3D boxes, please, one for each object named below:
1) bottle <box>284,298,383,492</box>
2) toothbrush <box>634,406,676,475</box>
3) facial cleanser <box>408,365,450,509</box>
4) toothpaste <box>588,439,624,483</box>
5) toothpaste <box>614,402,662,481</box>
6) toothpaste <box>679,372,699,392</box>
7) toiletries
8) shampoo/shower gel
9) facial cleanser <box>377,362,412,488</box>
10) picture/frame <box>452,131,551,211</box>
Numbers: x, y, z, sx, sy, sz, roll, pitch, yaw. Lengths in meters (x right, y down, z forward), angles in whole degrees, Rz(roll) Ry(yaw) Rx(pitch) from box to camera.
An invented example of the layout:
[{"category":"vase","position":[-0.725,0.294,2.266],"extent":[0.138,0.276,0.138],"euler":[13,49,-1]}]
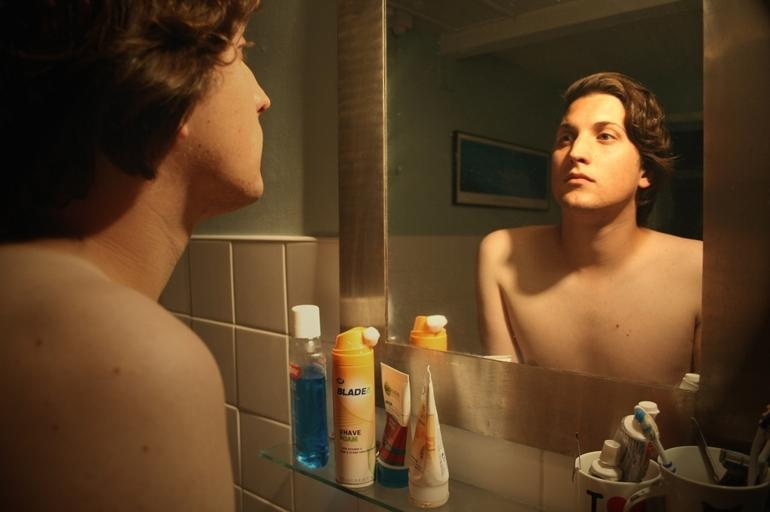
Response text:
[{"category":"bottle","position":[-0.097,0.246,1.159],"extent":[0.168,0.291,0.135],"euler":[3,-1,-6]},{"category":"toothbrush","position":[0.407,0.277,0.943],"extent":[0.019,0.101,0.031],"euler":[-27,-13,15]},{"category":"facial cleanser","position":[0.080,0.302,1.077],"extent":[0.068,0.225,0.080],"euler":[1,-1,-11]},{"category":"toothpaste","position":[0.344,0.313,0.961],"extent":[0.049,0.058,0.052],"euler":[13,7,19]},{"category":"toothpaste","position":[0.384,0.282,0.953],"extent":[0.049,0.115,0.051],"euler":[-18,29,-40]},{"category":"toothpaste","position":[0.465,0.191,0.955],"extent":[0.026,0.028,0.022],"euler":[8,-14,9]},{"category":"toiletries","position":[-0.142,0.243,1.186],"extent":[0.062,0.290,0.099],"euler":[-5,5,-44]},{"category":"shampoo/shower gel","position":[-0.131,0.245,1.198],"extent":[0.075,0.285,0.088],"euler":[7,9,2]},{"category":"facial cleanser","position":[0.023,0.300,1.125],"extent":[0.063,0.209,0.110],"euler":[-6,8,-26]},{"category":"picture/frame","position":[0.195,-0.143,1.067],"extent":[0.165,0.134,0.067],"euler":[2,16,41]}]
